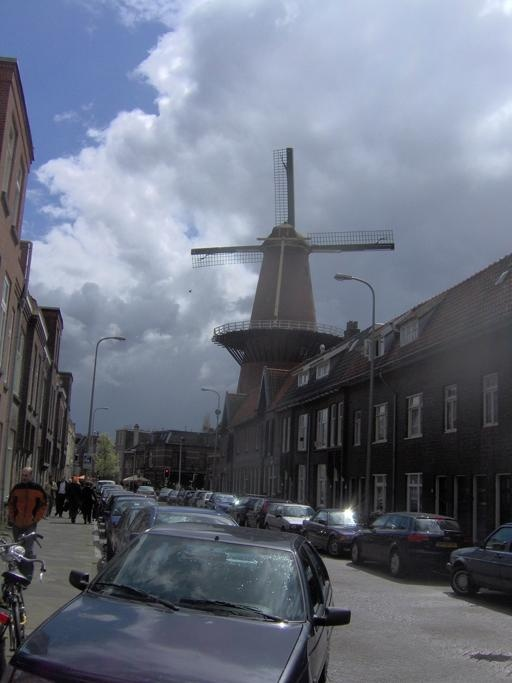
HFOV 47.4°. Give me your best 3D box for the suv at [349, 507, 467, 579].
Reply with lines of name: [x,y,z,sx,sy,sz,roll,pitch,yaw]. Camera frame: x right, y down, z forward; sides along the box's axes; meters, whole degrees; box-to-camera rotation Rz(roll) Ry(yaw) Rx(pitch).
suv: [3.996,5.442,16.205,1.473,1.081,3.172,4,-8,-13]
